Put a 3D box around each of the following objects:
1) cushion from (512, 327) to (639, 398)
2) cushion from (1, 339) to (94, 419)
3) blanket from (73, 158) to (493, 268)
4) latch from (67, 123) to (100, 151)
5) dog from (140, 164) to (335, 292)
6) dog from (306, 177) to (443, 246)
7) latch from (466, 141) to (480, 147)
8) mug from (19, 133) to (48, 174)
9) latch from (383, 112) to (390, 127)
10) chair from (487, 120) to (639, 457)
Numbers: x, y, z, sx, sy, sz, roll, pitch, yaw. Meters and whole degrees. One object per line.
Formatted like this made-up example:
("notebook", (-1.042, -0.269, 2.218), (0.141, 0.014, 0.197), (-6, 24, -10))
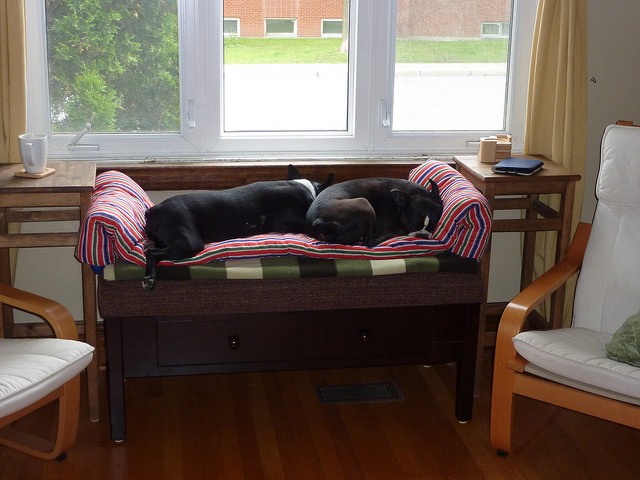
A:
("cushion", (1.100, 0.457, 2.251), (0.402, 0.127, 0.469), (-17, 23, -41))
("cushion", (-1.109, 0.497, 2.188), (0.362, 0.159, 0.425), (-13, 20, -34))
("blanket", (-0.146, -0.097, 2.524), (1.818, 0.380, 0.473), (-3, 17, -6))
("latch", (-1.309, -0.566, 3.010), (0.152, 0.155, 0.046), (2, 54, -16))
("dog", (-0.321, -0.070, 2.589), (1.059, 0.507, 0.299), (-10, 3, -22))
("dog", (0.242, -0.144, 2.551), (0.484, 0.178, 0.343), (-13, 25, -25))
("latch", (0.922, -0.583, 3.291), (0.096, 0.051, 0.023), (0, 6, -1))
("mug", (-1.329, -0.392, 2.527), (0.117, 0.162, 0.179), (-1, 18, -18))
("latch", (0.393, -0.703, 3.214), (0.039, 0.072, 0.017), (-4, 17, -9))
("chair", (1.181, 0.237, 2.389), (0.560, 1.319, 0.863), (11, 21, 35))
